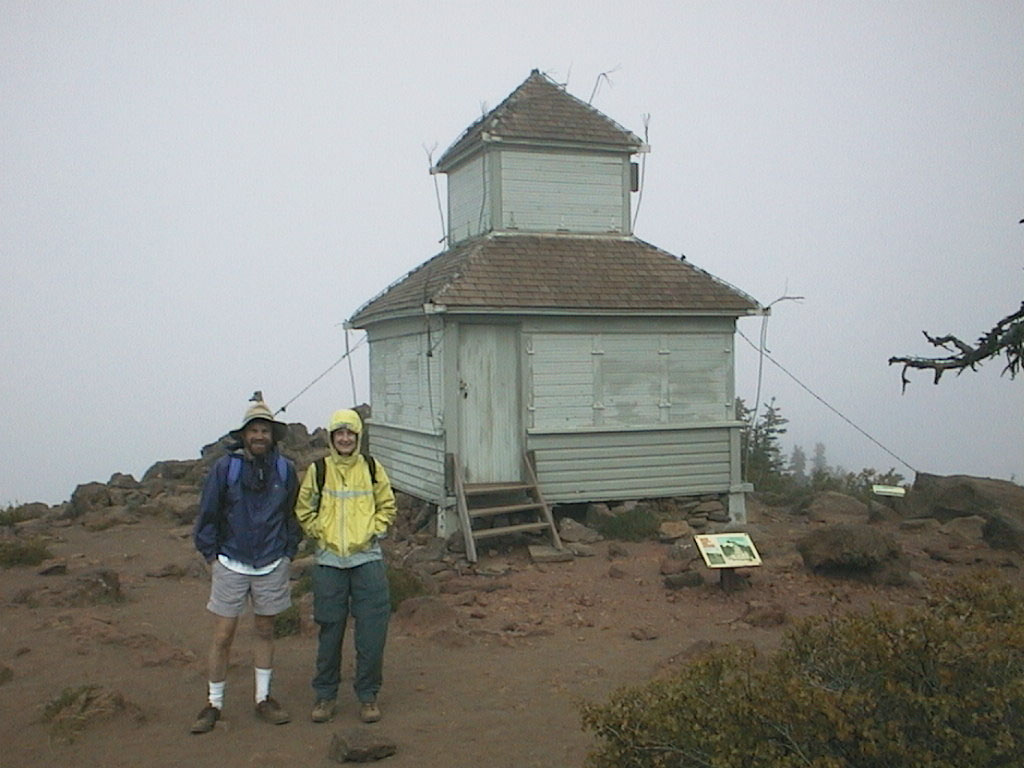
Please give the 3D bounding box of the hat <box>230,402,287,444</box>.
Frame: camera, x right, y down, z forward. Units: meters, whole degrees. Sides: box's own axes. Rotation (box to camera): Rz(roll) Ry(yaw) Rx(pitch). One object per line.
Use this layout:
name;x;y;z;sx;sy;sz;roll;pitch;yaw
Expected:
hat;-2.294;0.386;6.814;0.420;0.244;0.430;10;-27;-23

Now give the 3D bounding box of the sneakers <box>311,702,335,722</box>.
sneakers;-1.891;3.228;7.564;0.251;0.160;0.192;0;1;-26

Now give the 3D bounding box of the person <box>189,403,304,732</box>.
person;-2.606;1.733;7.422;0.967;3.088;0.441;0;1;-19

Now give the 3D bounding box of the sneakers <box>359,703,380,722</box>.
sneakers;-1.434;3.244;7.636;0.221;0.190;0.272;1;1;-13

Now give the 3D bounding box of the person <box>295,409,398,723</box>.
person;-1.696;1.797;7.689;0.932;3.056;0.559;1;1;-12

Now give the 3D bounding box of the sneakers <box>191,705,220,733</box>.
sneakers;-2.957;3.160;7.256;0.218;0.172;0.344;1;1;-9

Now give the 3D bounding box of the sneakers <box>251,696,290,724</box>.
sneakers;-2.383;3.196;7.484;0.159;0.197;0.420;5;-10;-34
